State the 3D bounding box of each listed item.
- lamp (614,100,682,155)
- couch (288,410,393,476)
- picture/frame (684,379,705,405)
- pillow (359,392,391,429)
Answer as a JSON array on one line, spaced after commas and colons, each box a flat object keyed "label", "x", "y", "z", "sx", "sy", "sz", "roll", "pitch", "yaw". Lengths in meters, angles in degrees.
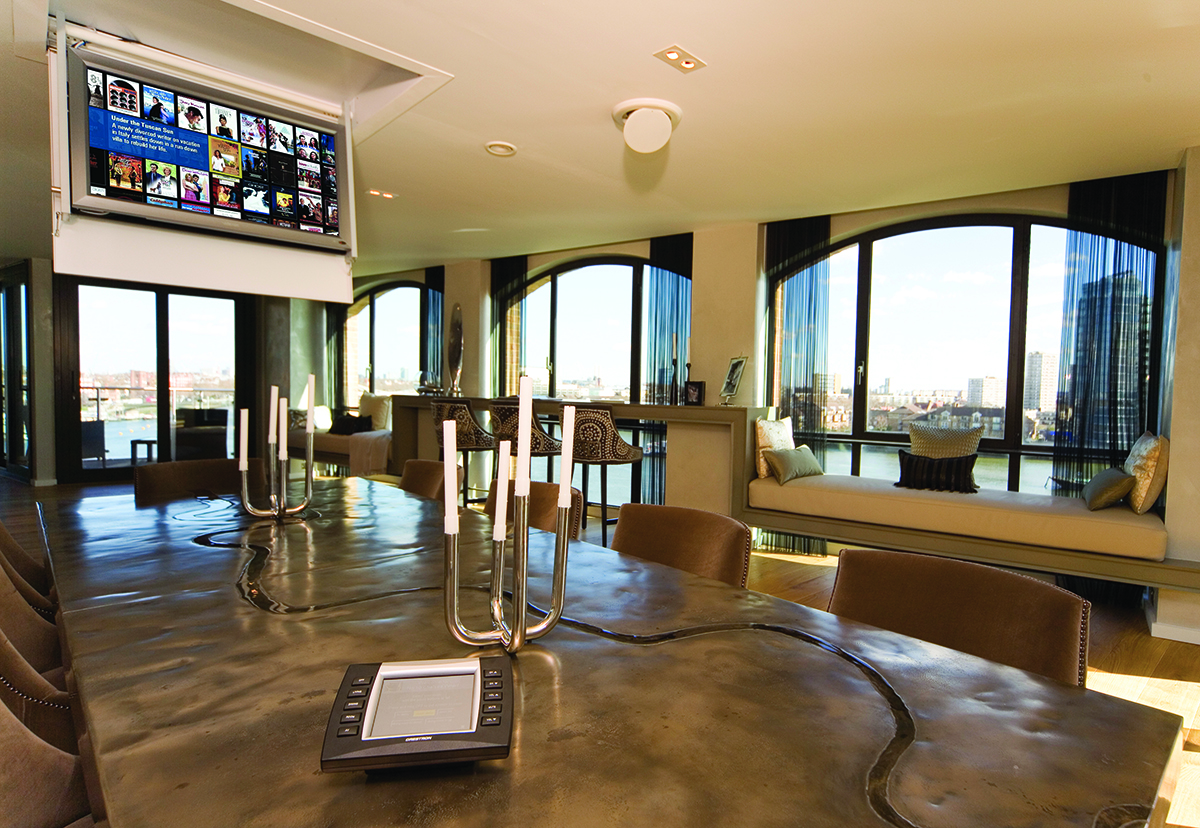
[{"label": "lamp", "x": 0.255, "y": -1.512, "z": 4.203, "sx": 0.349, "sy": 0.175, "sz": 0.312, "roll": -1, "pitch": 3, "yaw": 3}, {"label": "couch", "x": -2.947, "y": 0.362, "z": 9.104, "sx": 0.886, "sy": 0.506, "sz": 0.503, "roll": 9, "pitch": 0, "yaw": 19}, {"label": "picture/frame", "x": 0.771, "y": -0.171, "z": 6.469, "sx": 0.153, "sy": 0.187, "sz": 0.100, "roll": 12, "pitch": 18, "yaw": 15}, {"label": "pillow", "x": -2.692, "y": -0.058, "z": 9.601, "sx": 0.431, "sy": 0.447, "sz": 0.190, "roll": -10, "pitch": -20, "yaw": 30}]
